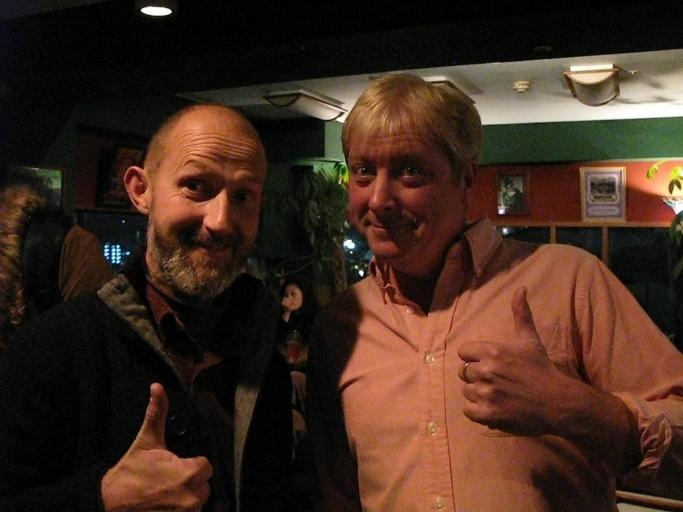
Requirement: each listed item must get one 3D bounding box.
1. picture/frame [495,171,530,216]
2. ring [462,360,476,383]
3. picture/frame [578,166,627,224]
[{"bbox_3d":[0.633,-0.242,2.313,0.156,0.206,0.020,-1,6,-2],"label":"picture/frame"},{"bbox_3d":[0.341,0.301,1.654,0.017,0.048,0.036,-4,12,14],"label":"ring"},{"bbox_3d":[0.933,-0.224,2.210,0.198,0.277,0.029,0,7,28],"label":"picture/frame"}]
